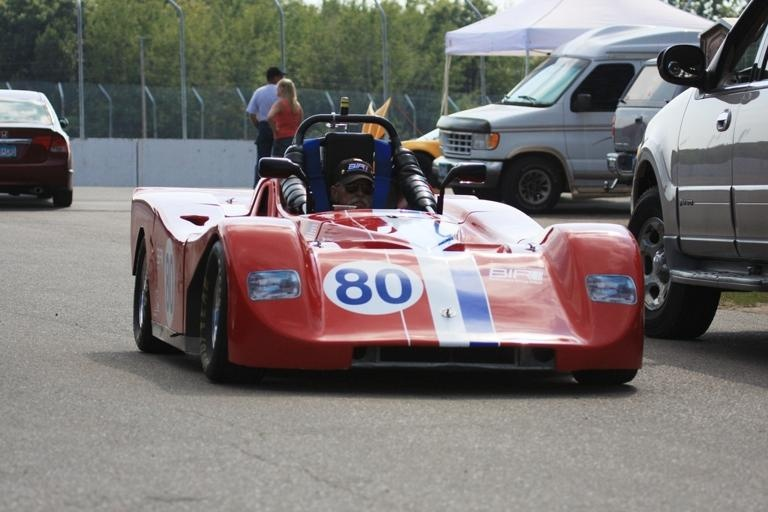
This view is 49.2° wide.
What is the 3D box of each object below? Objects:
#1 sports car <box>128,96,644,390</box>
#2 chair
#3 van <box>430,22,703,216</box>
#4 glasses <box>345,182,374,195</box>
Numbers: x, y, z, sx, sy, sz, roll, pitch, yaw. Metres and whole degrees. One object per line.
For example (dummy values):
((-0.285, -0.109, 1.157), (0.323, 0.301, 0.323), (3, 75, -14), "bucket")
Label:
((-0.238, -0.258, 6.663), (4.415, 2.134, 3.544), (2, 7, 19), "sports car")
((-0.326, -0.684, 7.664), (0.680, 0.783, 0.706), (1, 2, -7), "chair")
((4.030, -3.049, 19.278), (5.519, 3.672, 3.407), (0, 4, -7), "van")
((-0.197, -0.570, 7.051), (0.123, 0.041, 0.133), (9, -10, -29), "glasses")
